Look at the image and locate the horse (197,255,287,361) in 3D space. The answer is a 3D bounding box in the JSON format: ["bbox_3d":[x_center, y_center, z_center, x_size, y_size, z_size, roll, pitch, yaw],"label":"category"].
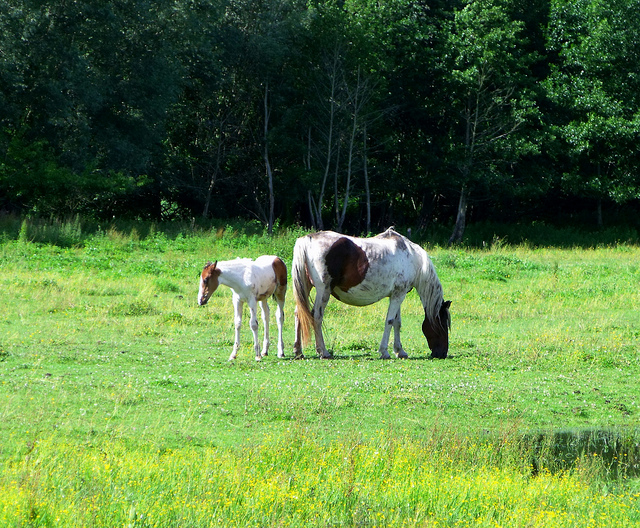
[{"bbox_3d":[-2.264,1.483,32.556,0.998,3.546,3.951,4,7,40],"label":"horse"}]

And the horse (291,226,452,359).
[{"bbox_3d":[1.497,0.978,33.073,4.879,4.363,1.653,3,-2,-4],"label":"horse"}]

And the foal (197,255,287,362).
[{"bbox_3d":[-2.272,1.474,32.526,0.999,3.492,3.857,5,8,40],"label":"foal"}]
